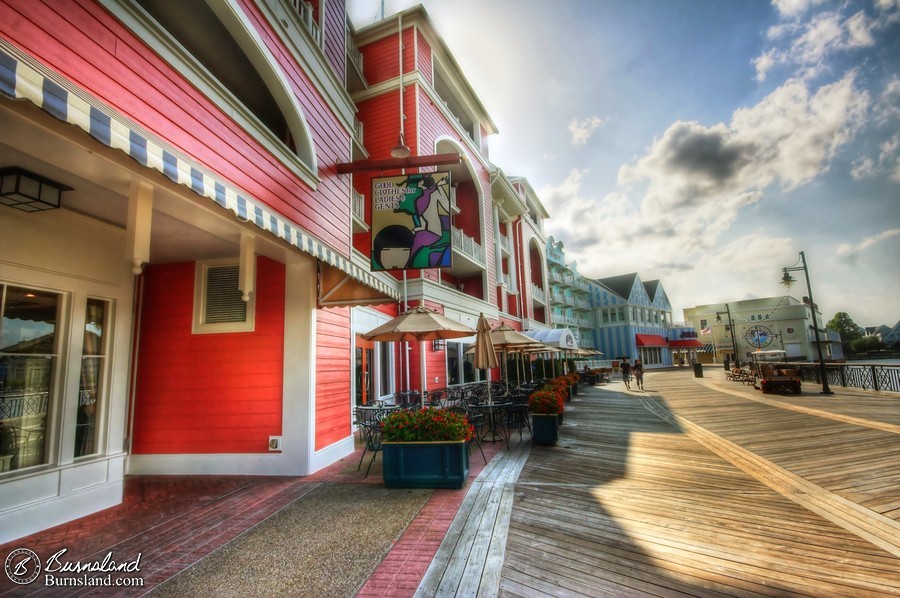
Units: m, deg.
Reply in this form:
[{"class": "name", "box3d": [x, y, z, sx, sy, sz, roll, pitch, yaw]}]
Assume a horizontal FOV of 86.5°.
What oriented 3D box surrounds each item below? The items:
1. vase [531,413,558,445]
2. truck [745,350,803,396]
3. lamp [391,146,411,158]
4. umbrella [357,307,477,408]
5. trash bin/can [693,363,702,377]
[{"class": "vase", "box3d": [2.679, 3.674, 13.690, 0.840, 0.796, 0.824, -1, -13, 5]}, {"class": "truck", "box3d": [15.996, 3.794, 24.280, 1.980, 1.959, 3.403, -6, -13, 11]}, {"class": "lamp", "box3d": [-1.223, -3.565, 11.759, 0.414, 0.280, 0.611, -1, 7, -1]}, {"class": "umbrella", "box3d": [-1.282, 2.051, 16.476, 3.310, 1.566, 3.413, 5, -14, -31]}, {"class": "trash bin/can", "box3d": [18.281, 5.230, 35.377, 0.416, 1.109, 0.937, 2, 8, 21]}]
